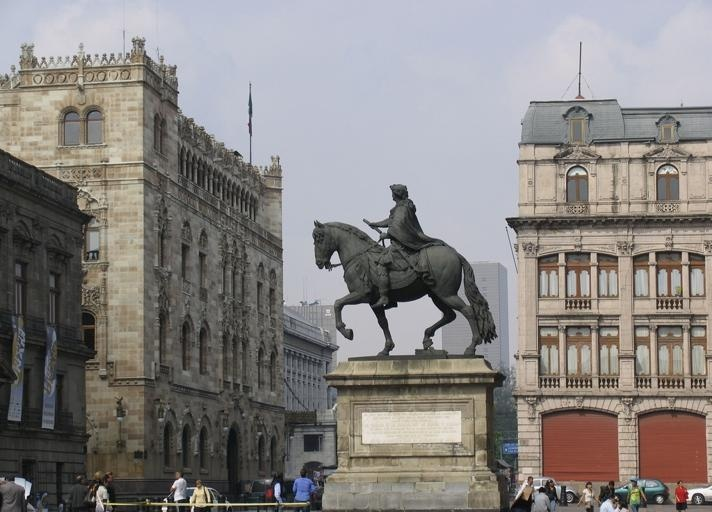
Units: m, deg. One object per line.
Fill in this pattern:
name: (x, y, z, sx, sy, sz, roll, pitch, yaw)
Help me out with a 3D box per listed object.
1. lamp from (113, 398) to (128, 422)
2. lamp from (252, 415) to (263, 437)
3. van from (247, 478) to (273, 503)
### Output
lamp: (-15.812, 10.172, 151.275, 0.732, 1.573, 0.527, 9, -20, -28)
lamp: (-7.593, 12.800, 172.887, 0.382, 1.263, 1.392, 4, -1, 15)
van: (-6.094, 15.393, 147.955, 2.029, 1.640, 3.335, 3, -3, -10)
